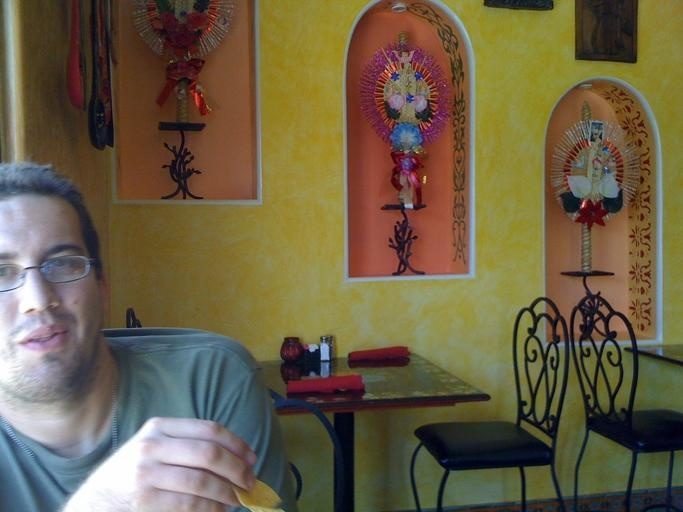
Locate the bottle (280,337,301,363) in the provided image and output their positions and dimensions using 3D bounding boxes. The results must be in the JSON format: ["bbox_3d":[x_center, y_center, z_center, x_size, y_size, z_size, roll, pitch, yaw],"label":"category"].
[{"bbox_3d":[-0.232,0.428,3.747,0.102,0.098,0.104,1,-8,0],"label":"bottle"}]

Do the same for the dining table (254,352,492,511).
[{"bbox_3d":[0.108,0.577,3.531,0.828,0.809,0.829,0,-5,-10],"label":"dining table"}]
